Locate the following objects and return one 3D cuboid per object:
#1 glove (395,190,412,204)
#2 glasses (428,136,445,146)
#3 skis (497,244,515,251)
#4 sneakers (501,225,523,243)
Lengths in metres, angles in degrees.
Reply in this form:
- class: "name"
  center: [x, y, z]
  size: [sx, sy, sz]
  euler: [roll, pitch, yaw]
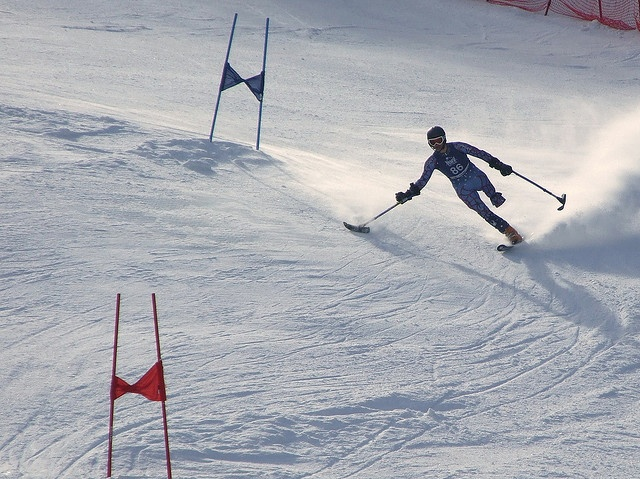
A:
- class: "glove"
  center: [1.513, -0.753, 20.899]
  size: [0.253, 0.285, 0.232]
  euler: [15, 22, 2]
- class: "glasses"
  center: [2.073, -1.724, 20.628]
  size: [0.206, 0.085, 0.211]
  euler: [-12, 8, 29]
- class: "skis"
  center: [3.270, 0.139, 20.801]
  size: [0.293, 0.126, 0.119]
  euler: [3, 23, -21]
- class: "sneakers"
  center: [3.437, -0.092, 20.859]
  size: [0.352, 0.317, 0.192]
  euler: [15, 22, 6]
